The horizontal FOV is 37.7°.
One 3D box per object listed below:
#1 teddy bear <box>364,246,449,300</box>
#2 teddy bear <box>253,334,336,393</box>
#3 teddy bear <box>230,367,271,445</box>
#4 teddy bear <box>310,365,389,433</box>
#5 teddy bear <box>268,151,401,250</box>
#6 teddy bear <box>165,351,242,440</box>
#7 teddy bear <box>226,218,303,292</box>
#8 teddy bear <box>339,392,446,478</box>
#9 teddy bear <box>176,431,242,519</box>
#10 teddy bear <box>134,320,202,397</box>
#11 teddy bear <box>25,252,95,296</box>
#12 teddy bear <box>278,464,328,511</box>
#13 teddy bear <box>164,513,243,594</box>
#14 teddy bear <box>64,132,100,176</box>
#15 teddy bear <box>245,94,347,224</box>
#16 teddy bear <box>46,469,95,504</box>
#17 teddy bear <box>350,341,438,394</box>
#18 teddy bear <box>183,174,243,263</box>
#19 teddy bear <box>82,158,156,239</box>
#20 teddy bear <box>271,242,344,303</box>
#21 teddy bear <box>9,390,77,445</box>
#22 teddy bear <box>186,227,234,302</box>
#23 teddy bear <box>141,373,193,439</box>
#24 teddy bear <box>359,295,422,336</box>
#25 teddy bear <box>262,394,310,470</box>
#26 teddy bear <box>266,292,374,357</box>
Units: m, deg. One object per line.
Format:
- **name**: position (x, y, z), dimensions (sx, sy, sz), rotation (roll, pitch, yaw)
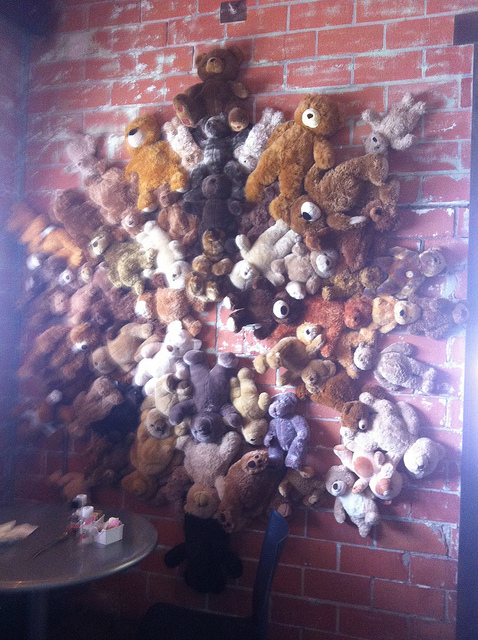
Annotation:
- **teddy bear**: position (0.514, -0.146, 2.159), dimensions (0.251, 0.167, 0.113), rotation (10, 36, 7)
- **teddy bear**: position (0.185, 0.130, 2.212), dimensions (0.224, 0.185, 0.085), rotation (22, 17, 7)
- **teddy bear**: position (0.037, 0.276, 2.254), dimensions (0.151, 0.223, 0.098), rotation (-10, -7, 6)
- **teddy bear**: position (0.339, 0.246, 2.195), dimensions (0.206, 0.154, 0.124), rotation (23, 39, 25)
- **teddy bear**: position (0.329, -0.372, 2.381), dimensions (0.236, 0.412, 0.600), rotation (-11, 4, -10)
- **teddy bear**: position (-0.105, 0.230, 2.216), dimensions (0.298, 0.261, 0.116), rotation (-1, -4, 6)
- **teddy bear**: position (0.083, -0.212, 2.247), dimensions (0.216, 0.232, 0.089), rotation (39, 5, -5)
- **teddy bear**: position (0.432, 0.342, 2.212), dimensions (0.141, 0.366, 0.266), rotation (59, 9, 4)
- **teddy bear**: position (-0.078, 0.496, 2.295), dimensions (0.264, 0.243, 0.103), rotation (2, -2, 25)
- **teddy bear**: position (-0.249, 0.134, 2.371), dimensions (0.202, 0.240, 0.128), rotation (26, 12, -9)
- **teddy bear**: position (-0.673, -0.162, 2.547), dimensions (0.236, 0.051, 0.183), rotation (3, 19, 20)
- **teddy bear**: position (0.208, 0.521, 2.215), dimensions (0.164, 0.113, 0.090), rotation (13, 0, 36)
- **teddy bear**: position (-0.106, 0.751, 2.242), dimensions (0.239, 0.193, 0.152), rotation (24, 39, 26)
- **teddy bear**: position (-0.539, -0.585, 2.493), dimensions (0.173, 0.141, 0.044), rotation (6, -1, 19)
- **teddy bear**: position (0.233, -0.507, 2.342), dimensions (0.302, 0.408, 0.198), rotation (42, 19, 26)
- **teddy bear**: position (-0.587, 0.574, 2.431), dimensions (0.140, 0.114, 0.040), rotation (13, -12, 21)
- **teddy bear**: position (0.487, 0.142, 2.176), dimensions (0.256, 0.138, 0.092), rotation (14, 37, 15)
- **teddy bear**: position (-0.088, -0.329, 2.301), dimensions (0.217, 0.284, 0.163), rotation (7, 36, 2)
- **teddy bear**: position (-0.416, -0.424, 2.415), dimensions (0.300, 0.199, 0.082), rotation (51, 24, 4)
- **teddy bear**: position (0.211, -0.154, 2.210), dimensions (0.216, 0.150, 0.100), rotation (9, 36, 6)
- **teddy bear**: position (-0.683, 0.337, 2.493), dimensions (0.232, 0.187, 0.065), rotation (17, 7, 20)
- **teddy bear**: position (-0.084, -0.191, 2.292), dimensions (0.167, 0.228, 0.147), rotation (10, 31, 21)
- **teddy bear**: position (-0.231, 0.283, 2.311), dimensions (0.224, 0.191, 0.090), rotation (-23, -20, 37)
- **teddy bear**: position (0.456, -0.008, 2.168), dimensions (0.214, 0.038, 0.120), rotation (-6, 22, -17)
- **teddy bear**: position (0.154, 0.361, 2.221), dimensions (0.137, 0.204, 0.193), rotation (8, 35, 4)
- **teddy bear**: position (0.273, 0.049, 2.272), dimensions (0.285, 0.069, 0.390), rotation (31, 8, 7)
